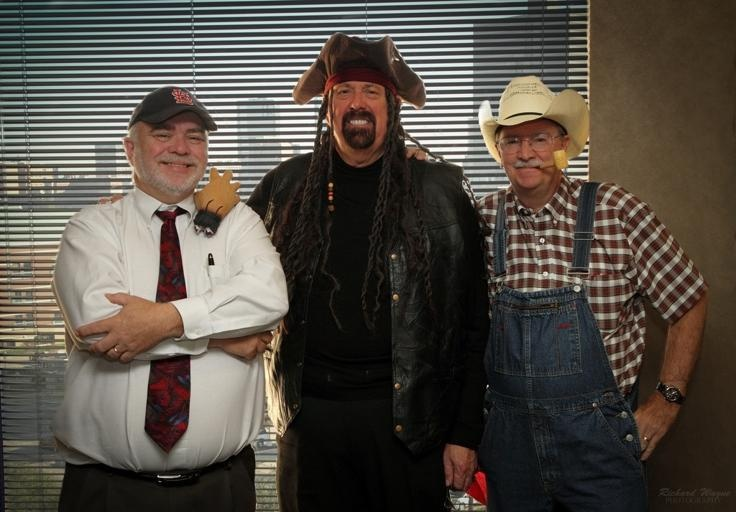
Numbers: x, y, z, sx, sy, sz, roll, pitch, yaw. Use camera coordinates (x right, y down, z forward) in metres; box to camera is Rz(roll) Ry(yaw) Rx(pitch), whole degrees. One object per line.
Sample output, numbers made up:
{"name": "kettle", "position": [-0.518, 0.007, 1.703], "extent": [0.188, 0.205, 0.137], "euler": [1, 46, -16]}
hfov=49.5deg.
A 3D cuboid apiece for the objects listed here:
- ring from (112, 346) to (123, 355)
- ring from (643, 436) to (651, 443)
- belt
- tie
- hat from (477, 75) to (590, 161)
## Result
{"name": "ring", "position": [-1.020, 0.381, 3.218], "extent": [0.028, 0.030, 0.007], "euler": [-5, 4, 18]}
{"name": "ring", "position": [1.226, 0.806, 3.510], "extent": [0.018, 0.027, 0.007], "euler": [0, -21, 2]}
{"name": "belt", "position": [-0.847, 0.910, 3.347], "extent": [0.605, 0.097, 0.081], "euler": [-1, -5, -10]}
{"name": "tie", "position": [-0.846, 0.294, 3.354], "extent": [0.183, 1.012, 0.109], "euler": [0, -5, -17]}
{"name": "hat", "position": [0.810, -0.655, 3.788], "extent": [0.501, 0.246, 0.595], "euler": [-4, -1, 18]}
